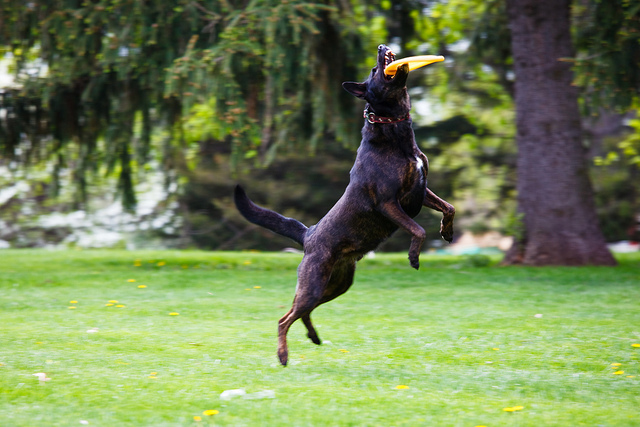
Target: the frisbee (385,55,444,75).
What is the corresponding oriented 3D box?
[{"bbox_3d":[1.262,-2.026,12.734,0.498,0.073,0.385,-4,-19,-19],"label":"frisbee"}]
